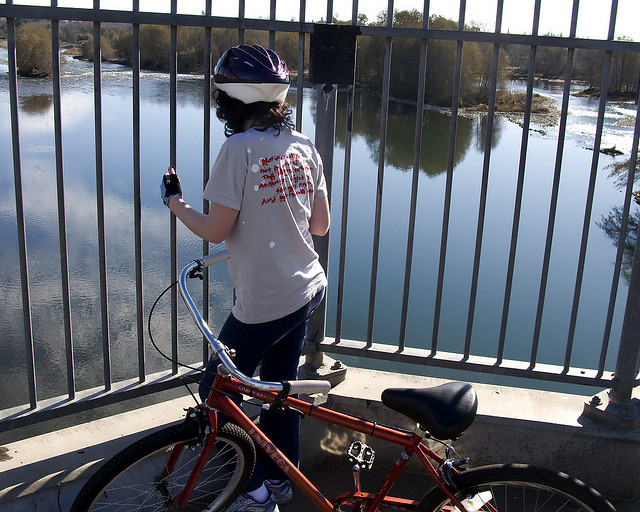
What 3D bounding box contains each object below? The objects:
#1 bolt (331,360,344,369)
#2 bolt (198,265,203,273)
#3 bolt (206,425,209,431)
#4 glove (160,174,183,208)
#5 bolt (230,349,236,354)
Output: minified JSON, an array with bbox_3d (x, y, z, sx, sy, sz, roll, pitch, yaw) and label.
[{"bbox_3d":[0.110,0.643,3.281,0.041,0.019,0.044,-9,14,-26],"label":"bolt"},{"bbox_3d":[-0.479,0.053,2.241,0.010,0.035,0.032,17,2,-24],"label":"bolt"},{"bbox_3d":[-0.442,0.683,2.201,0.011,0.016,0.009,-4,16,-22],"label":"bolt"},{"bbox_3d":[-0.646,-0.295,2.415,0.087,0.176,0.068,5,-27,-21],"label":"glove"},{"bbox_3d":[-0.334,0.373,2.143,0.014,0.007,0.024,-1,20,-7],"label":"bolt"}]
